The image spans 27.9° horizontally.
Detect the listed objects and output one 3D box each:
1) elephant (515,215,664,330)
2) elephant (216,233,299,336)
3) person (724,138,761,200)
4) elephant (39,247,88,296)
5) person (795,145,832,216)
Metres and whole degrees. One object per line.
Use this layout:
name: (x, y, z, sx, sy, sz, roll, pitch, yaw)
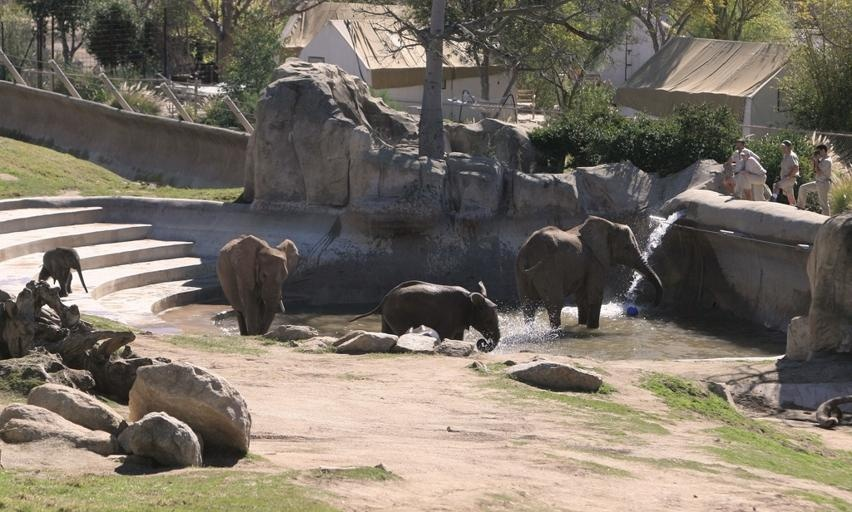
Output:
elephant: (4.576, 0.520, 49.038, 4.666, 2.660, 2.036, -3, -2, -26)
elephant: (-4.644, 0.756, 47.232, 1.957, 2.880, 2.825, 2, 1, -12)
person: (9.596, -2.475, 51.208, 1.005, 1.601, 0.749, -1, -9, -2)
elephant: (-8.931, 0.352, 42.202, 1.400, 1.066, 0.816, 0, -6, 31)
person: (11.514, -2.293, 50.261, 0.919, 2.034, 1.519, 6, 7, 12)
